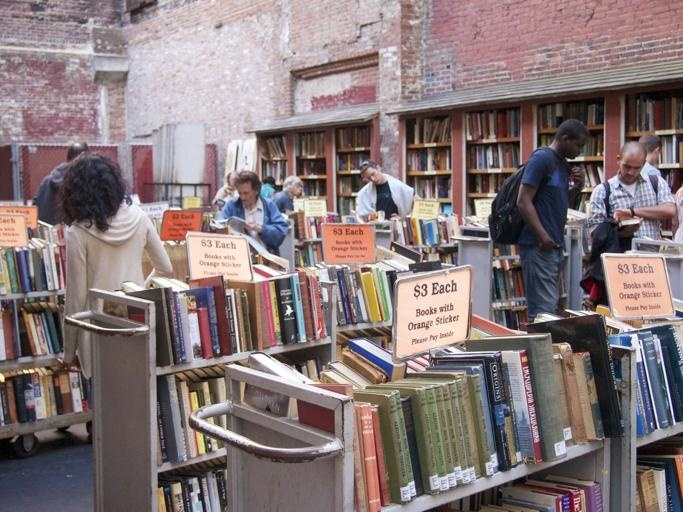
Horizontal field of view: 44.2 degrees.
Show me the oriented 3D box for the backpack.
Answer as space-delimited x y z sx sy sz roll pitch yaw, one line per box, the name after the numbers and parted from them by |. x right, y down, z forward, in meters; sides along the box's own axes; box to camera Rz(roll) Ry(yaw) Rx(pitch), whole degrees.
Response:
1.369 -0.464 6.572 0.301 0.748 0.612 -3 5 -34 | backpack
